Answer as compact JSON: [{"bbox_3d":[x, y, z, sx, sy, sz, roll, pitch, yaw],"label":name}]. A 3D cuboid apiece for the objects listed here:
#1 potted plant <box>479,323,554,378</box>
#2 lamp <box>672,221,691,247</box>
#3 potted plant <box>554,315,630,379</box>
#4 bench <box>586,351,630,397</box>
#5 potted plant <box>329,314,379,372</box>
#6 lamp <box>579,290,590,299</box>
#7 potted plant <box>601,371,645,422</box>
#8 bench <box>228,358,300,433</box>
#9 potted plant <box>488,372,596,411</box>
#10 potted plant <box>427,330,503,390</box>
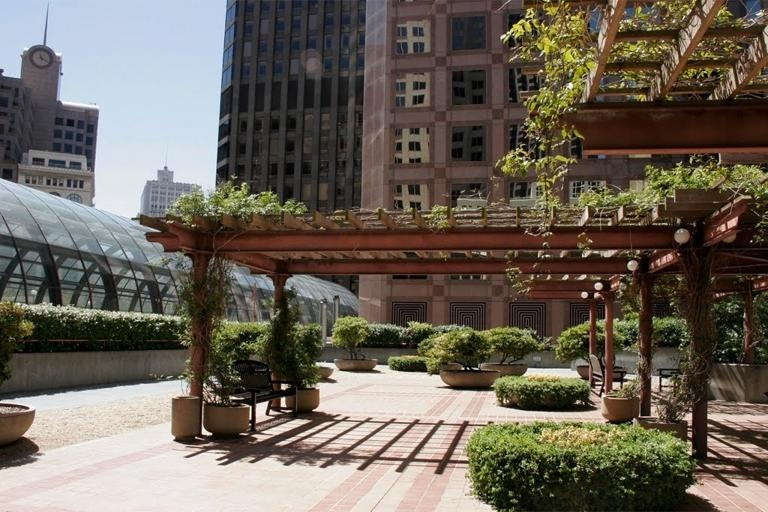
[{"bbox_3d":[4.386,3.598,23.930,2.327,1.613,1.836,-1,-10,-21],"label":"potted plant"},{"bbox_3d":[5.194,-0.376,11.484,0.389,0.414,0.369,-1,9,-23],"label":"lamp"},{"bbox_3d":[7.646,3.069,24.288,2.493,2.132,2.618,1,0,21],"label":"potted plant"},{"bbox_3d":[6.602,3.511,19.827,0.771,1.142,1.750,-1,-2,1],"label":"bench"},{"bbox_3d":[-1.293,3.737,28.084,1.718,2.255,3.172,0,-9,-3],"label":"potted plant"},{"bbox_3d":[5.914,1.160,19.381,0.336,0.171,0.329,1,6,17],"label":"lamp"},{"bbox_3d":[5.180,3.176,14.299,0.862,0.826,0.707,-6,-9,35],"label":"potted plant"},{"bbox_3d":[-2.509,2.895,13.817,0.714,1.077,1.631,-2,-6,15],"label":"bench"},{"bbox_3d":[4.019,3.463,16.671,2.305,0.767,1.273,-2,-9,11],"label":"potted plant"},{"bbox_3d":[2.685,3.378,21.442,2.230,1.710,2.185,-11,-11,43],"label":"potted plant"}]
